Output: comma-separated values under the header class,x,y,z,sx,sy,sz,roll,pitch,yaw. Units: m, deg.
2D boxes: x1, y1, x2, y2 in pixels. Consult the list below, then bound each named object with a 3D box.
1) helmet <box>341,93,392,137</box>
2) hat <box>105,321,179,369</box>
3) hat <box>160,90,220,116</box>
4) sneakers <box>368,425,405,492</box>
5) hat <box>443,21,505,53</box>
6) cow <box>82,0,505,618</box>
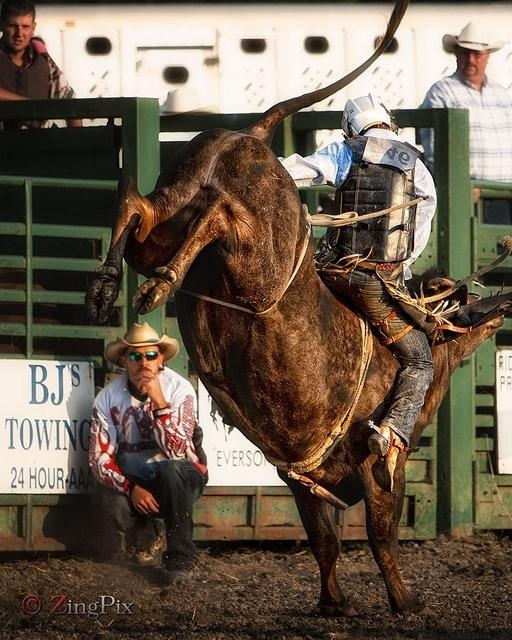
class,x,y,z,sx,sy,sz,roll,pitch,yaw
helmet,0.572,-1.084,7.271,0.223,0.236,0.268,-11,6,6
hat,-0.773,0.217,8.914,0.347,0.119,0.325,-5,-28,-9
hat,-0.503,-1.575,9.964,0.310,0.092,0.318,4,5,44
sneakers,0.721,0.739,7.242,0.121,0.187,0.477,38,-12,26
hat,1.778,-2.280,11.241,0.397,0.151,0.393,7,-12,9
cow,0.152,0.042,6.856,0.958,3.293,2.285,2,3,29
